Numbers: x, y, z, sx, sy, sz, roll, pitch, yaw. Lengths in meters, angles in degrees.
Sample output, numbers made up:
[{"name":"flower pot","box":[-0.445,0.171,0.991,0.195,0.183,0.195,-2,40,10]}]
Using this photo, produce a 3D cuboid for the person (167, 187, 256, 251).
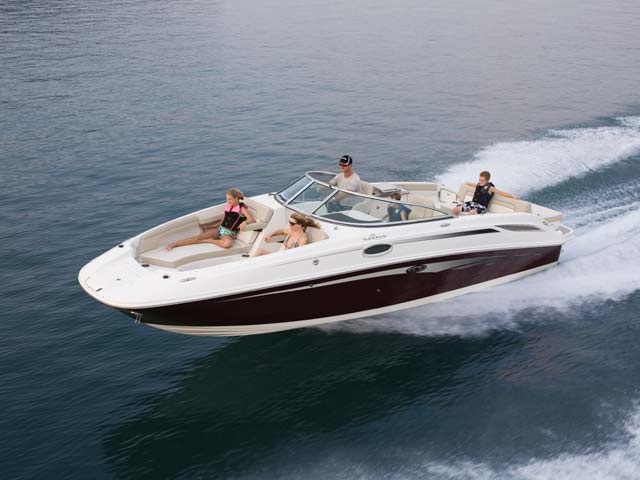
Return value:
[{"name":"person","box":[-2.121,-0.296,10.647,2.164,0.736,0.775,-14,20,4]}]

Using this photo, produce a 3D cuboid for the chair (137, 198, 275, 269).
[{"name":"chair","box":[-2.018,-0.099,10.491,2.684,0.567,1.091,-13,33,-18]}]

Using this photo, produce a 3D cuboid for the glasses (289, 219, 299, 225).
[{"name":"glasses","box":[-0.451,-0.299,9.945,0.164,0.025,0.114,7,10,-11]}]

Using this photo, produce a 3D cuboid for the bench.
[{"name":"bench","box":[3.254,-0.779,11.856,0.781,0.348,1.537,-6,18,-28]}]

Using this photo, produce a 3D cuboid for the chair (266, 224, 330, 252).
[{"name":"chair","box":[-0.407,-0.024,10.133,1.020,0.186,0.575,-6,13,-17]}]

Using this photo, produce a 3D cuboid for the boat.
[{"name":"boat","box":[-0.426,0.198,10.604,11.324,2.022,2.702,-7,25,-15]}]

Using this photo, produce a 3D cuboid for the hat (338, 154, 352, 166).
[{"name":"hat","box":[0.474,-1.473,10.825,0.325,0.150,0.340,7,20,9]}]
